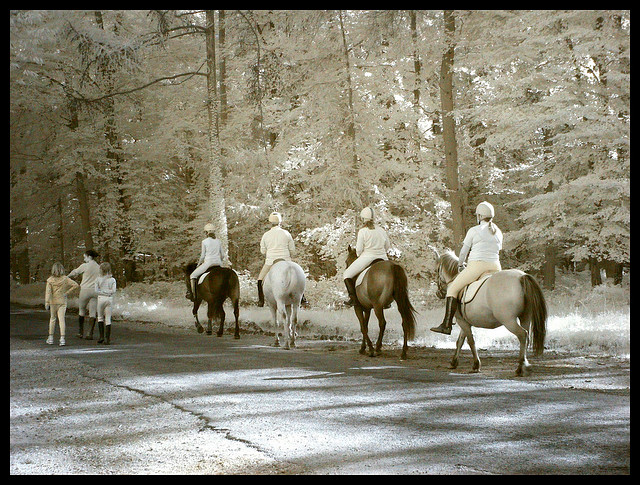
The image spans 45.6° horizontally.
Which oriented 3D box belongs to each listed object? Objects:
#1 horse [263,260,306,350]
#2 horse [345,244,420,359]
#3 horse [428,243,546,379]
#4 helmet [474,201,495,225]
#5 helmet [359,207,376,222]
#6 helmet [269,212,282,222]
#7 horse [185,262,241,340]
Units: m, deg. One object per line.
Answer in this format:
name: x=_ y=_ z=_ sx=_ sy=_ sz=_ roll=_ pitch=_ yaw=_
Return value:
horse: x=-0.940 y=1.573 z=19.963 sx=1.088 sy=2.191 sz=1.644 roll=0 pitch=2 yaw=-5
horse: x=1.366 y=1.535 z=19.061 sx=0.911 sy=2.586 sz=3.638 roll=1 pitch=-6 yaw=-21
horse: x=3.449 y=1.442 z=16.111 sx=1.094 sy=2.590 sz=3.609 roll=0 pitch=-2 yaw=-27
helmet: x=3.471 y=-0.664 z=15.844 sx=0.299 sy=0.401 sz=0.396 roll=7 pitch=32 yaw=-6
helmet: x=1.202 y=-0.690 z=19.093 sx=0.263 sy=0.347 sz=0.689 roll=1 pitch=2 yaw=13
helmet: x=-1.207 y=-0.695 z=20.594 sx=0.264 sy=0.211 sz=0.273 roll=1 pitch=8 yaw=-18
horse: x=-3.549 y=1.797 z=24.545 sx=1.110 sy=2.492 sz=3.805 roll=2 pitch=-8 yaw=-33
